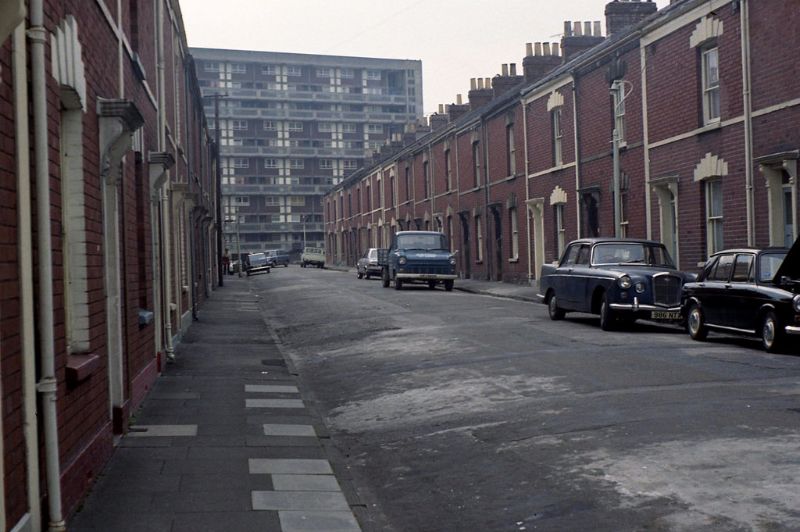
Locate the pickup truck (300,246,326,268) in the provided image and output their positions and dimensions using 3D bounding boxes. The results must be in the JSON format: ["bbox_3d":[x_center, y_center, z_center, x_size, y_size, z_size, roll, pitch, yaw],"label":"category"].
[{"bbox_3d":[-8.809,-0.823,79.098,1.521,1.367,2.963,1,-1,-16],"label":"pickup truck"}]

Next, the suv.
[{"bbox_3d":[0.906,-0.246,35.199,3.031,2.566,2.507,2,2,2],"label":"suv"}]

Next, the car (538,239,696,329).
[{"bbox_3d":[5.219,0.410,18.833,1.903,2.135,3.986,1,2,-20],"label":"car"}]

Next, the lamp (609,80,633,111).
[{"bbox_3d":[7.455,-5.785,26.828,0.508,0.973,1.240,1,2,-4],"label":"lamp"}]
